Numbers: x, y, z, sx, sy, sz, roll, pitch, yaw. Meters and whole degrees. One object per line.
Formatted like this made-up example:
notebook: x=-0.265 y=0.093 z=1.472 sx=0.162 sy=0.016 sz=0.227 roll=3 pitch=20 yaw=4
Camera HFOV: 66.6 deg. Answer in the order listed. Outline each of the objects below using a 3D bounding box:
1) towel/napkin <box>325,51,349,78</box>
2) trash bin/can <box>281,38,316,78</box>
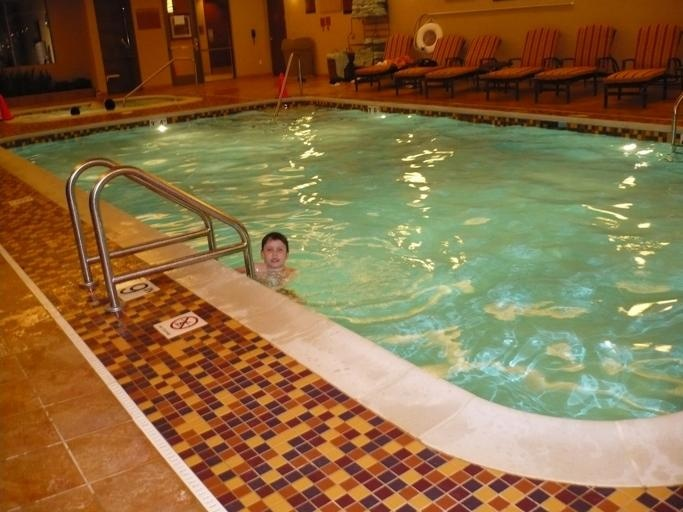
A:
towel/napkin: x=-0.139 y=-5.034 z=13.737 sx=0.572 sy=0.668 sz=0.213 roll=11 pitch=28 yaw=23
trash bin/can: x=-1.269 y=-6.071 z=15.934 sx=0.757 sy=1.236 sz=1.134 roll=-20 pitch=30 yaw=-37
